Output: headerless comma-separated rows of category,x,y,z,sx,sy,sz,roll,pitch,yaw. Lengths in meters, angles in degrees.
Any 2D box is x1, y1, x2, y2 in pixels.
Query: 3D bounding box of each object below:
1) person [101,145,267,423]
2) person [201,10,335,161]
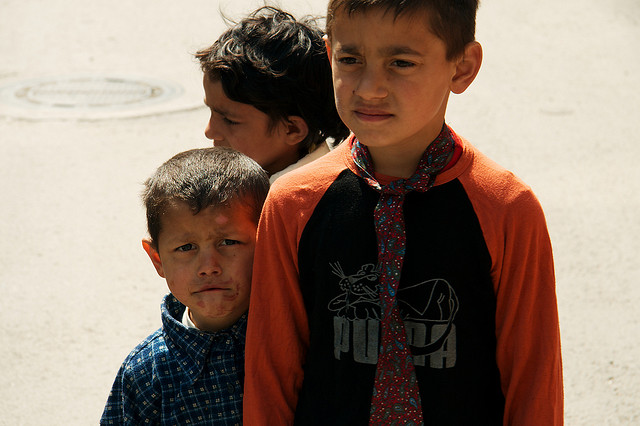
person,-0.677,0.351,4.200,0.743,1.189,0.835,-2,23,11
person,-0.357,-0.790,4.974,0.846,0.923,0.722,-8,35,-21
